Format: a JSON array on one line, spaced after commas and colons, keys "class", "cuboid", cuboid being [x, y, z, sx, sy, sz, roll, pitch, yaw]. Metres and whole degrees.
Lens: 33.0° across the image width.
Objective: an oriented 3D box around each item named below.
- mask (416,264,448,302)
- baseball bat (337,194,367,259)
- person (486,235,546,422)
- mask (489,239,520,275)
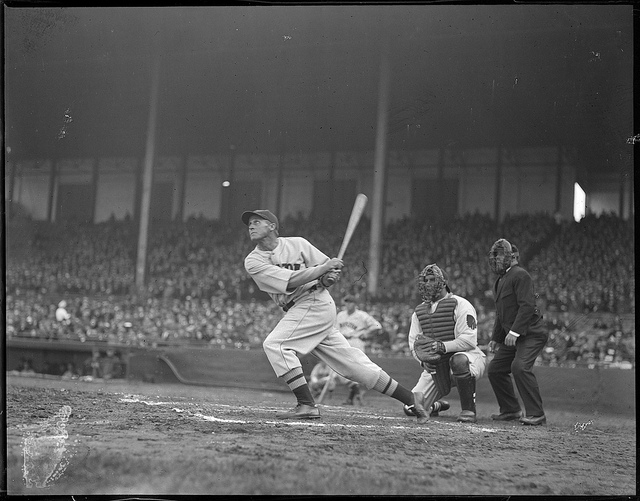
[{"class": "mask", "cuboid": [1.327, 0.372, 12.862, 0.366, 0.422, 0.458, -10, -9, 37]}, {"class": "baseball bat", "cuboid": [0.513, -0.436, 18.251, 0.185, 1.281, 0.195, 21, -11, 40]}, {"class": "person", "cuboid": [2.330, 0.944, 12.868, 0.704, 2.146, 0.394, 0, -5, 20]}, {"class": "mask", "cuboid": [2.205, 0.075, 13.023, 0.330, 0.429, 0.435, -1, -5, 44]}]
